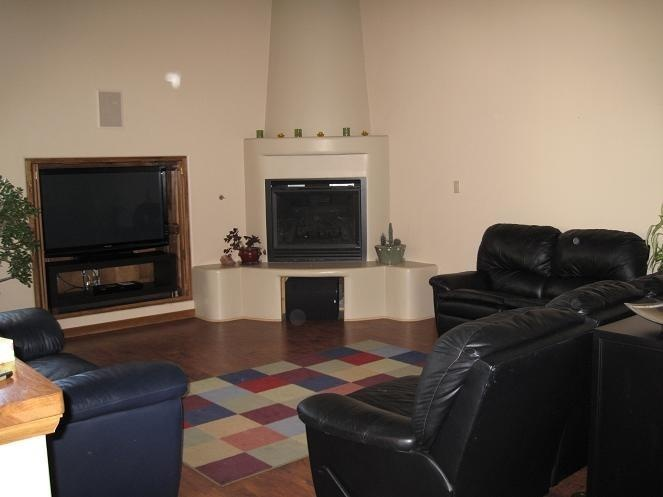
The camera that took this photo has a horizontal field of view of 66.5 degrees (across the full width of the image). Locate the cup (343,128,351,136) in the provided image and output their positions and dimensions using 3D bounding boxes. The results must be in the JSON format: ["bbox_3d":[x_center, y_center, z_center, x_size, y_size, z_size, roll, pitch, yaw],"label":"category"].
[{"bbox_3d":[0.196,-1.487,6.486,0.110,0.119,0.106,1,12,0],"label":"cup"}]

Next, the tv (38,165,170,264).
[{"bbox_3d":[-2.717,-0.408,5.887,1.198,0.803,0.119,-7,10,-37],"label":"tv"}]

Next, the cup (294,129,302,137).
[{"bbox_3d":[-0.428,-1.460,6.455,0.109,0.115,0.110,-1,4,0],"label":"cup"}]

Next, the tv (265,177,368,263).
[{"bbox_3d":[-0.199,-0.402,6.521,1.151,0.952,0.400,0,3,1],"label":"tv"}]

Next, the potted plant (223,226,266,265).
[{"bbox_3d":[-1.146,-0.050,6.622,0.508,0.421,0.494,0,10,9],"label":"potted plant"}]

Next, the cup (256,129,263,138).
[{"bbox_3d":[-0.942,-1.510,6.638,0.098,0.121,0.239,-3,8,-8],"label":"cup"}]
